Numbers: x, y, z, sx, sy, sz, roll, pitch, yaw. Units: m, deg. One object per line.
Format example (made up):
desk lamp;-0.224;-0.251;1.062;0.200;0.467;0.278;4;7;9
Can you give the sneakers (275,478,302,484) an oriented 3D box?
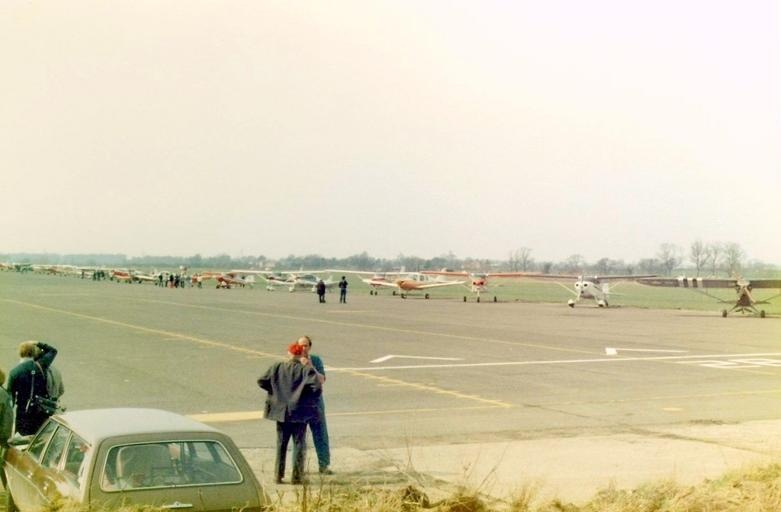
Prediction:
sneakers;-1.919;4.154;16.402;0.493;0.093;0.176;1;-4;9

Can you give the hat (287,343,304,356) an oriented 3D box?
hat;-1.802;1.757;16.795;0.228;0.232;0.160;16;-22;4

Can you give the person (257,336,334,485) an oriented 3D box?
person;-1.892;2.935;16.588;1.074;2.531;0.436;2;-4;-7
